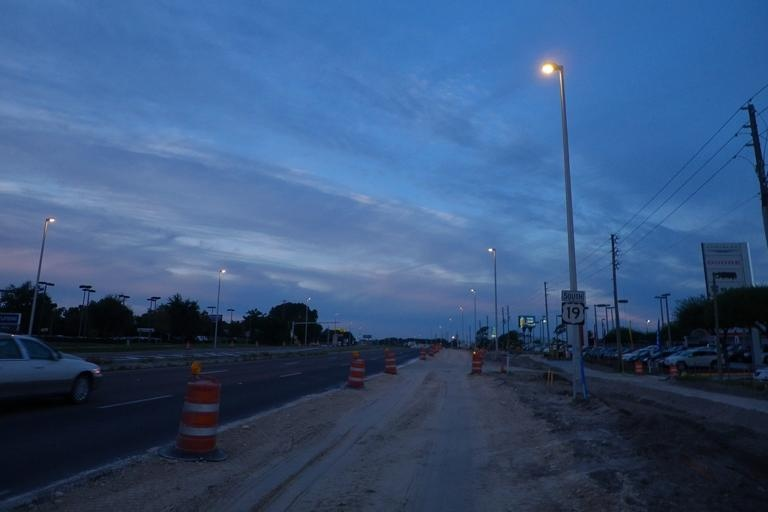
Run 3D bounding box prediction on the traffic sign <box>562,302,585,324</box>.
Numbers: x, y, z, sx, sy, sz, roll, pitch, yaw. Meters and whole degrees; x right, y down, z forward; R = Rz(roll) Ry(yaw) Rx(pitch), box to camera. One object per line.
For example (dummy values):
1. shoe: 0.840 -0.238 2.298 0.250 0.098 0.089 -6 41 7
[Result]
1. traffic sign: 7.358 2.226 20.974 0.942 1.078 0.150 2 -7 7
